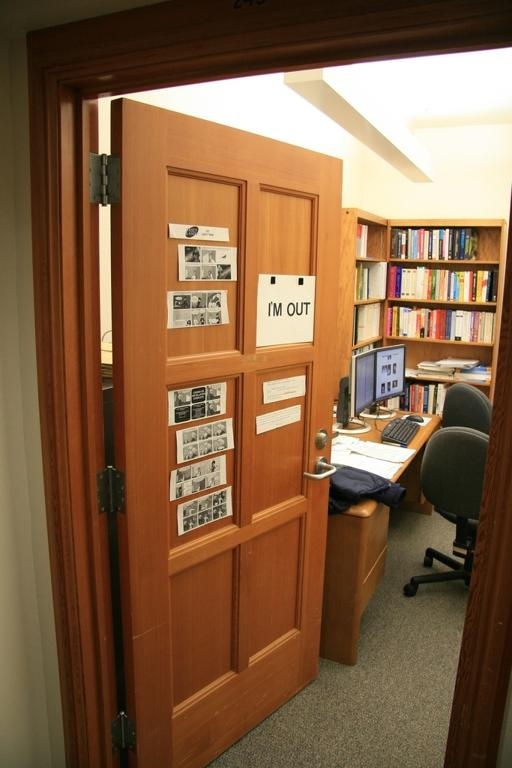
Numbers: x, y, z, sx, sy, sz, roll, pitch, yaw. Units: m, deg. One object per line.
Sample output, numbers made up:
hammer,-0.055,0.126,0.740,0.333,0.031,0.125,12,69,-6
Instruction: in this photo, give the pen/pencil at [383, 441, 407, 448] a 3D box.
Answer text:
pen/pencil,0.773,0.327,3.053,0.085,0.015,0.014,10,53,20

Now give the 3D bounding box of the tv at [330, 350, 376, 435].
tv,0.559,0.027,3.419,0.286,0.511,0.322,10,18,27

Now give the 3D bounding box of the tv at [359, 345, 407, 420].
tv,0.838,-0.044,3.630,0.047,0.352,0.557,8,-13,-21
